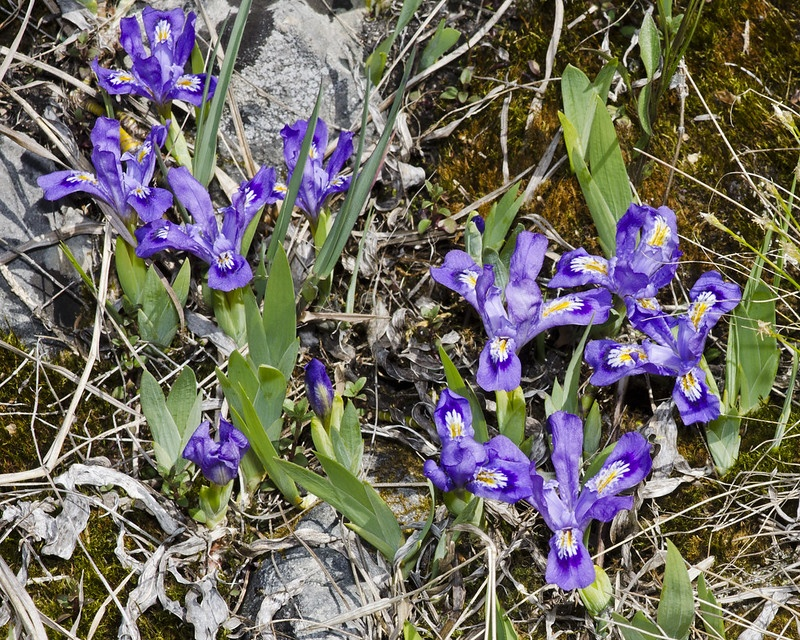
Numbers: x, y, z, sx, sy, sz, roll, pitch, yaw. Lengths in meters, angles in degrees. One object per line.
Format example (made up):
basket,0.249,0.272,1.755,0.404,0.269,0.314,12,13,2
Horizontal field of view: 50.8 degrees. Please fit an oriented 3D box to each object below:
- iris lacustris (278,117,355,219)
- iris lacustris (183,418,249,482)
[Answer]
iris lacustris,-0.336,-0.595,3.405,0.271,0.447,0.398,-8,50,-17
iris lacustris,-0.649,0.481,2.966,0.176,0.245,0.293,2,90,-8
